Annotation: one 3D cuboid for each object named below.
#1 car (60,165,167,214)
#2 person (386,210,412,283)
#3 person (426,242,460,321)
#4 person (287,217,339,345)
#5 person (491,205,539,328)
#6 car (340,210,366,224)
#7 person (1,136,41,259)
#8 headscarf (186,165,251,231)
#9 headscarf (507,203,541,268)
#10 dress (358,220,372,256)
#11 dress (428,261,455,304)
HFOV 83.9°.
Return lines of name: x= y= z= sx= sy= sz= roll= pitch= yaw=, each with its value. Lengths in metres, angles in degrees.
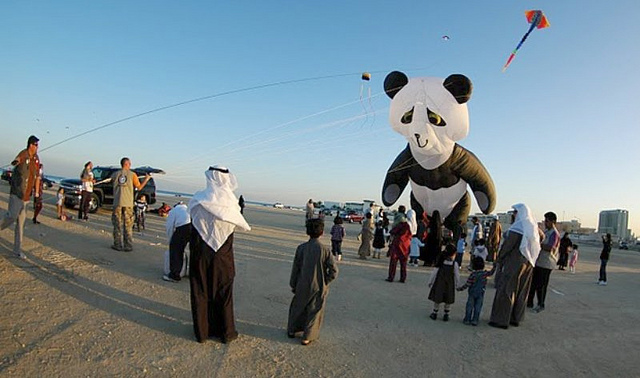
car: x=-8.832 y=0.104 z=14.581 sx=2.380 sy=1.819 sz=3.872 roll=0 pitch=-2 yaw=39
person: x=2.548 y=2.145 z=11.663 sx=0.728 sy=2.057 sz=1.277 roll=8 pitch=15 yaw=12
person: x=2.999 y=2.241 z=8.597 sx=0.672 sy=1.868 sz=0.734 roll=11 pitch=15 yaw=22
person: x=-0.216 y=1.865 z=7.358 sx=0.864 sy=2.307 sz=0.962 roll=14 pitch=17 yaw=31
person: x=4.661 y=1.852 z=8.403 sx=0.767 sy=2.734 sz=1.242 roll=15 pitch=17 yaw=32
car: x=4.166 y=3.260 z=42.853 sx=1.892 sy=1.377 sz=3.984 roll=7 pitch=8 yaw=42
person: x=-7.232 y=0.165 z=8.553 sx=0.854 sy=2.827 sz=1.200 roll=-6 pitch=18 yaw=-38
headscarf: x=-2.050 y=0.199 z=7.178 sx=1.142 sy=1.157 sz=0.614 roll=2 pitch=15 yaw=-13
headscarf: x=4.977 y=1.087 z=8.657 sx=0.858 sy=1.546 sz=0.551 roll=16 pitch=-17 yaw=-34
dress: x=1.926 y=2.091 z=15.043 sx=0.407 sy=1.604 sz=0.408 roll=7 pitch=14 yaw=8
dress: x=2.948 y=2.224 z=8.560 sx=0.581 sy=0.915 sz=0.449 roll=7 pitch=14 yaw=5
